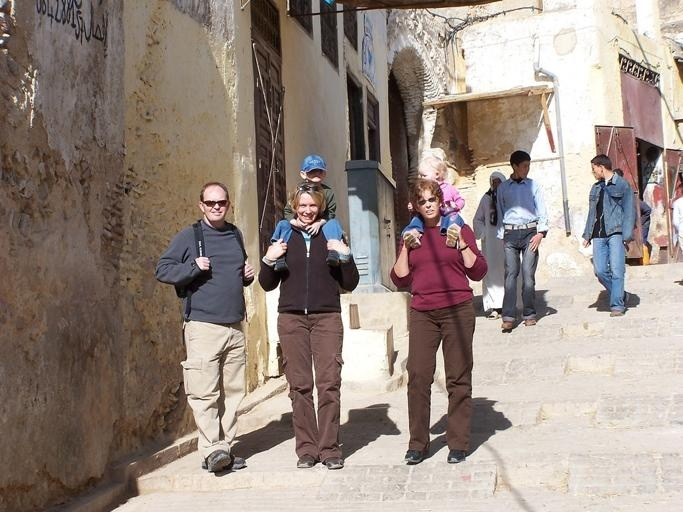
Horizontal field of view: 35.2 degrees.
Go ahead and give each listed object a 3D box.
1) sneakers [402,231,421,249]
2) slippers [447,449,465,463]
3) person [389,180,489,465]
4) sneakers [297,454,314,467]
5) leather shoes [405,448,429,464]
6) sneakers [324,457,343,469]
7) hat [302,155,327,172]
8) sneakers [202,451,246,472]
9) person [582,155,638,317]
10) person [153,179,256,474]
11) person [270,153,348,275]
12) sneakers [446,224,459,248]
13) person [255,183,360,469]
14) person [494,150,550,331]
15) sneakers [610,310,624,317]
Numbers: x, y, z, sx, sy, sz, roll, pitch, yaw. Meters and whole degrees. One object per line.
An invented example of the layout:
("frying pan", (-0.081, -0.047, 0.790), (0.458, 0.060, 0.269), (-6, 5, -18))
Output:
("sneakers", (0.564, -0.149, 8.580), (0.099, 0.144, 0.148), (3, 24, 17))
("slippers", (0.898, 1.566, 8.488), (0.139, 0.082, 0.088), (-3, 14, 1))
("person", (0.782, 0.494, 8.618), (0.752, 2.163, 0.806), (-2, 14, 5))
("sneakers", (-0.278, 1.623, 8.567), (0.142, 0.080, 0.118), (-3, 15, 1))
("leather shoes", (0.594, 1.591, 8.583), (0.077, 0.107, 0.234), (-2, -13, 24))
("sneakers", (-0.058, 1.627, 8.535), (0.132, 0.062, 0.070), (3, -6, 24))
("hat", (-0.256, -0.821, 9.584), (0.186, 0.152, 0.262), (-1, 1, -11))
("sneakers", (-0.929, 1.647, 8.642), (0.347, 0.168, 0.154), (-17, -16, 29))
("person", (2.903, -0.230, 11.727), (0.517, 1.771, 0.599), (4, -5, -38))
("person", (-0.994, 0.702, 8.812), (0.736, 1.941, 0.842), (-9, 15, -20))
("person", (-0.254, -0.406, 8.969), (0.549, 0.918, 0.671), (0, -2, 14))
("sneakers", (0.876, -0.166, 8.549), (0.104, 0.193, 0.090), (-1, 14, 9))
("person", (-0.242, 0.696, 8.716), (0.754, 1.788, 0.826), (-4, 14, -4))
("person", (1.960, -0.195, 11.742), (0.505, 1.874, 0.705), (-1, 14, 8))
("sneakers", (2.927, 0.611, 11.546), (0.150, 0.056, 0.068), (-16, -32, 34))
